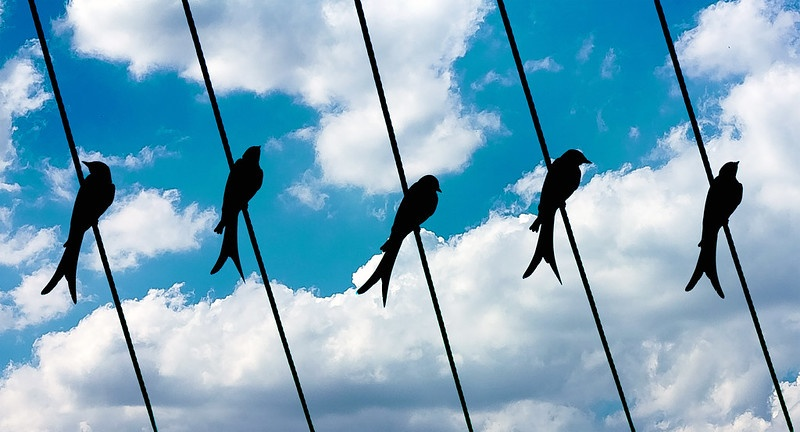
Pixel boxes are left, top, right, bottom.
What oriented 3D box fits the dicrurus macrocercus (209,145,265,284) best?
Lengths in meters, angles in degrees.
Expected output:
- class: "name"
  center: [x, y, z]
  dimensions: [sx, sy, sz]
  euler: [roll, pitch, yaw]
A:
- class: "dicrurus macrocercus"
  center: [-2.257, -0.047, 15.707]
  dimensions: [0.613, 0.713, 2.063]
  euler: [16, -101, -16]
